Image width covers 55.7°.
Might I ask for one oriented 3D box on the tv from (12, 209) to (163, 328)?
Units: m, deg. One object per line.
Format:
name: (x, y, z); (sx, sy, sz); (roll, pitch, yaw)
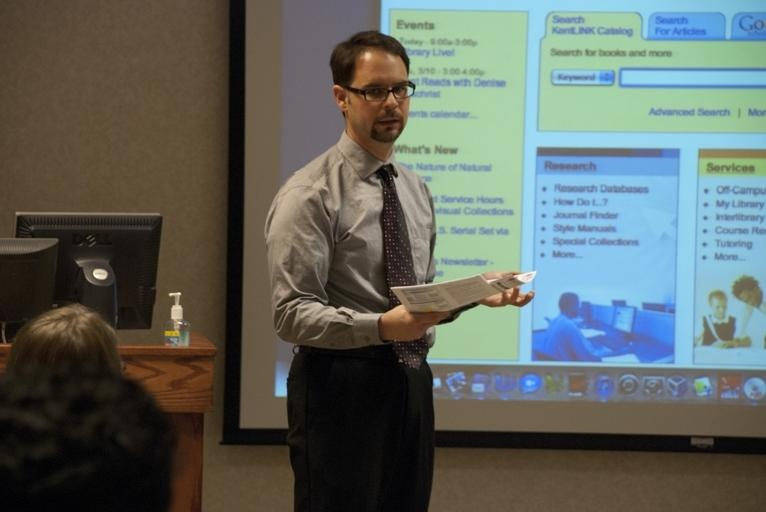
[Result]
tv: (-1.188, 0.047, 2.889); (0.482, 0.405, 0.174); (1, 3, -13)

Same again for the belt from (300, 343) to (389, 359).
belt: (-0.137, 0.320, 2.465); (0.340, 0.050, 0.045); (1, 6, 9)

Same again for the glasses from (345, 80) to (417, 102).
glasses: (-0.019, -0.602, 2.584); (0.134, 0.036, 0.136); (-3, -1, -24)
